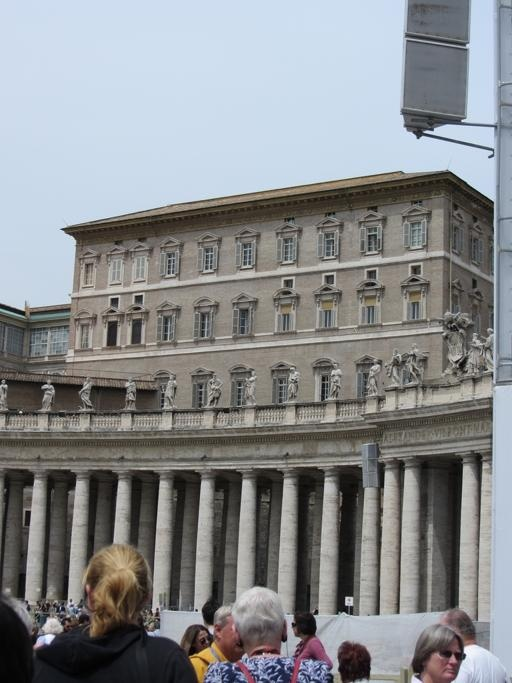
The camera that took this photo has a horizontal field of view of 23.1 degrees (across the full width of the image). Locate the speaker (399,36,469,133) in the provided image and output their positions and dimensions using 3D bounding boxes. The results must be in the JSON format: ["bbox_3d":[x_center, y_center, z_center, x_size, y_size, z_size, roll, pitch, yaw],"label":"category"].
[{"bbox_3d":[2.696,-4.052,19.556,1.062,1.344,0.733,7,-16,-4],"label":"speaker"}]

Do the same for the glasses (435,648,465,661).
[{"bbox_3d":[1.402,2.223,8.916,0.112,0.091,0.275,-7,-12,39],"label":"glasses"}]
